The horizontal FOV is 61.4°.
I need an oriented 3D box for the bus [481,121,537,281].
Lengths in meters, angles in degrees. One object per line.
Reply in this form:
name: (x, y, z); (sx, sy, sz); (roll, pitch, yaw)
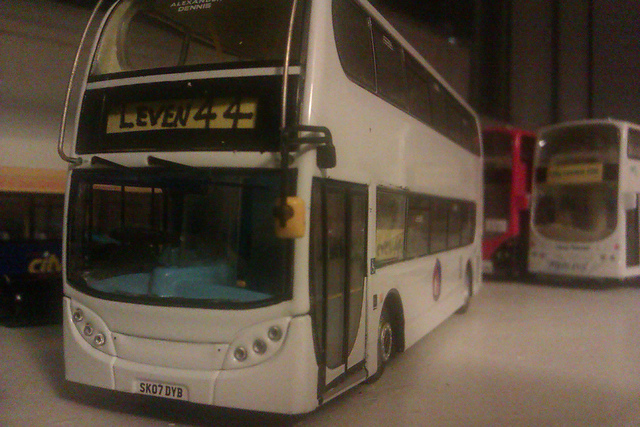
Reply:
bus: (5.896, -0.412, 16.953); (1.801, 4.663, 3.740); (2, -5, -2)

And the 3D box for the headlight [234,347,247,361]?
headlight: (-0.973, 1.694, 6.544); (0.136, 0.154, 0.078); (1, 3, 9)

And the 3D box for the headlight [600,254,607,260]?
headlight: (8.199, 1.237, 15.671); (0.151, 0.169, 0.038); (0, -1, 28)

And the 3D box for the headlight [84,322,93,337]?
headlight: (-3.017, 1.500, 7.020); (0.144, 0.150, 0.050); (-35, -16, 15)

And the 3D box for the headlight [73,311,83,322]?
headlight: (-3.190, 1.348, 7.099); (0.162, 0.140, 0.031); (3, 6, 26)

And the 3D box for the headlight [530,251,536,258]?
headlight: (6.645, 1.263, 16.892); (0.173, 0.176, 0.043); (4, -2, 42)

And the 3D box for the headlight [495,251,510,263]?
headlight: (5.757, 1.339, 17.112); (0.357, 0.365, 0.332); (-2, 0, -43)

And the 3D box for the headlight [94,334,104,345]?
headlight: (-2.854, 1.614, 6.958); (0.104, 0.131, 0.081); (2, -21, 5)

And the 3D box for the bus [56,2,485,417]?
bus: (-0.370, -0.230, 7.810); (6.109, 5.677, 2.901); (-2, 6, -29)
